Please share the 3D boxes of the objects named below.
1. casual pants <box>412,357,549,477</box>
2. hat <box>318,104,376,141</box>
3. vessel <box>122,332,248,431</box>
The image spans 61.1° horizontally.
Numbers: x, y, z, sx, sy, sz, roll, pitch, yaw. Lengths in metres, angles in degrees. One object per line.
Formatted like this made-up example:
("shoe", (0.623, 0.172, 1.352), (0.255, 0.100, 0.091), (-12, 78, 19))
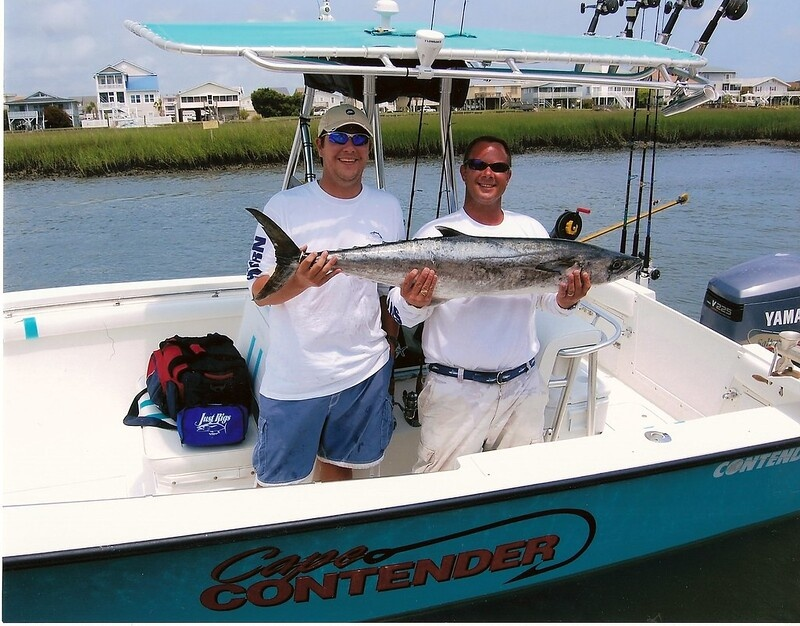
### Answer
("casual pants", (0.409, 0.524, 3.382), (0.592, 0.664, 0.244), (0, 22, -27))
("hat", (-0.264, -0.909, 3.212), (0.238, 0.142, 0.145), (-4, 21, -10))
("vessel", (-1.142, 0.350, 3.754), (0.701, 0.293, 0.489), (0, 15, -27))
